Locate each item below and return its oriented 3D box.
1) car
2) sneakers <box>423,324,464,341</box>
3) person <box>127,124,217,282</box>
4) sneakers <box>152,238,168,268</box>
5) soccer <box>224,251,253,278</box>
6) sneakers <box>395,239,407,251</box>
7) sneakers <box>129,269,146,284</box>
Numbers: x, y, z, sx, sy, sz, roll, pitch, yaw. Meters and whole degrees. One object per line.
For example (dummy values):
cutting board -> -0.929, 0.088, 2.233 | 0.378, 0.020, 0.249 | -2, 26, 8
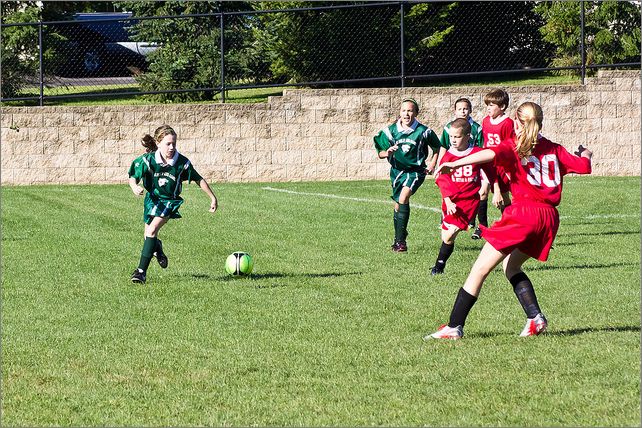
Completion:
car -> -7.110, -6.612, 31.060 | 4.257, 2.102, 2.271 | 2, 28, 6
sneakers -> 1.412, 1.369, 9.582 | 0.419, 0.173, 0.168 | 2, -3, 0
person -> -2.171, -0.161, 11.581 | 1.021, 2.123, 0.886 | 1, 5, -14
sneakers -> -2.278, 0.590, 11.728 | 0.192, 0.448, 0.146 | -24, 25, -34
soccer -> -1.136, 0.682, 11.369 | 0.336, 0.340, 0.331 | -1, 4, -24
sneakers -> 1.216, 0.492, 12.642 | 0.192, 0.158, 0.085 | 3, 5, 3
sneakers -> -2.488, 0.836, 11.224 | 0.192, 0.191, 0.237 | 1, 5, -13
